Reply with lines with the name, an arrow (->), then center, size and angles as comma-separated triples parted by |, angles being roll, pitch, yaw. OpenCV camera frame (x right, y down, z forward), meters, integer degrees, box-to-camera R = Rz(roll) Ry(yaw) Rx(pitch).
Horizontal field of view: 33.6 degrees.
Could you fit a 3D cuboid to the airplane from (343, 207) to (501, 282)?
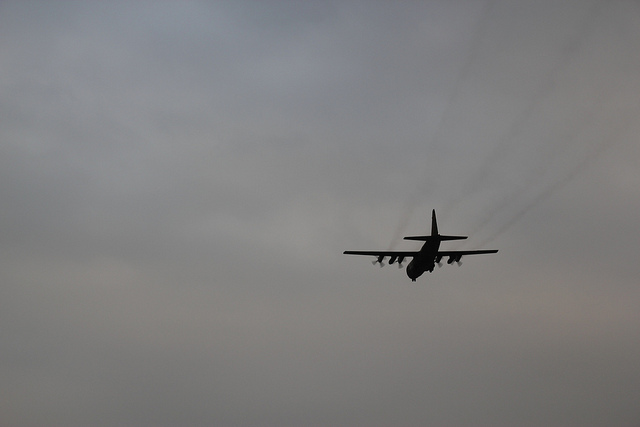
airplane -> 14.611, 5.137, 148.632 | 19.236, 15.547, 5.901 | -2, -72, 23
